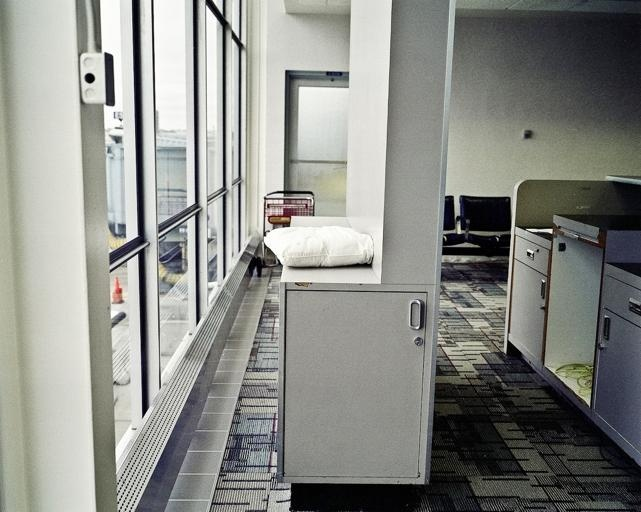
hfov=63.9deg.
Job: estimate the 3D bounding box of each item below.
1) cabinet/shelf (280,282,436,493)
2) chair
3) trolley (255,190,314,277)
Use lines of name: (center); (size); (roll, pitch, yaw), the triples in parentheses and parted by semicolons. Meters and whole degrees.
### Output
cabinet/shelf: (0.165, 0.513, 2.593); (0.713, 1.034, 0.598); (1, 17, 4)
chair: (2.098, -0.365, 7.308); (1.031, 1.192, 1.185); (0, 5, 2)
trolley: (-0.467, -0.345, 6.963); (0.677, 1.097, 1.068); (-1, 12, -8)
